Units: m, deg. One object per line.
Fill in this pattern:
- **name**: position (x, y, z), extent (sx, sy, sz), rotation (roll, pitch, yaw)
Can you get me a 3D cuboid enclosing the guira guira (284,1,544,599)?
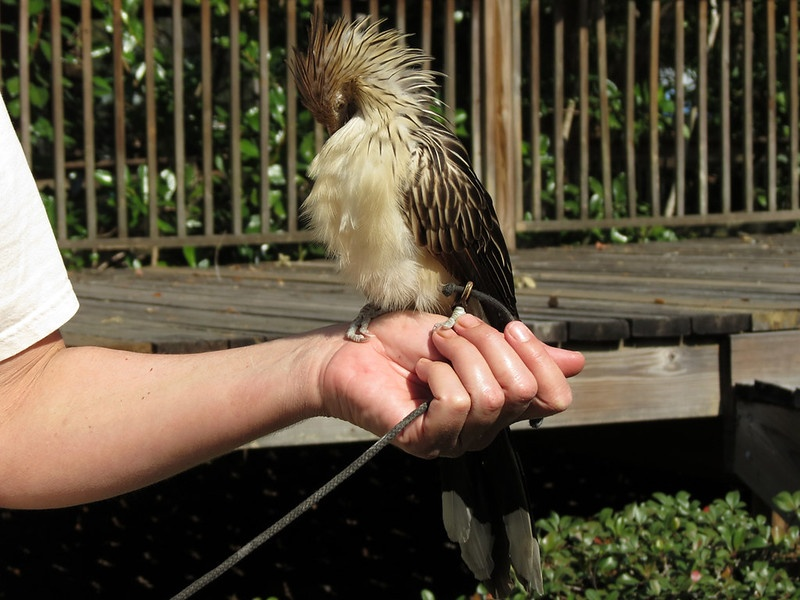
- **guira guira**: position (0.065, -0.009, 3.962), extent (0.767, 2.183, 0.944), rotation (-4, 6, -10)
